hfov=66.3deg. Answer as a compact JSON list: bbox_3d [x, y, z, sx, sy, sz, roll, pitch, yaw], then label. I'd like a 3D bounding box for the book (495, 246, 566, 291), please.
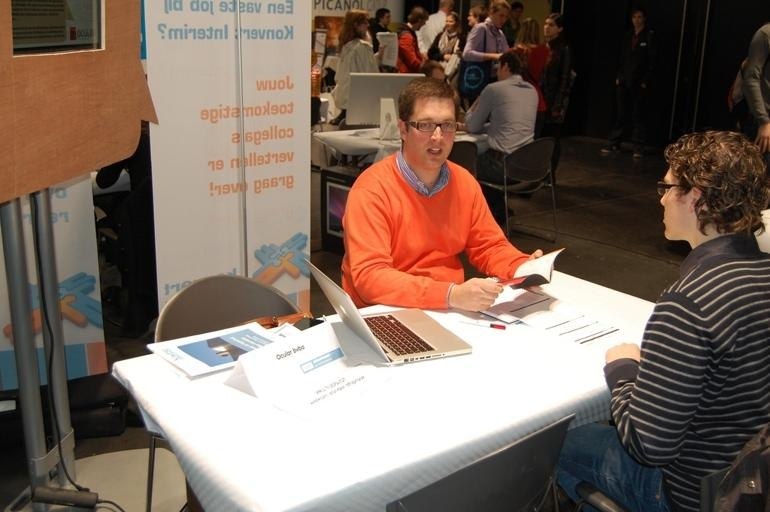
[{"bbox_3d":[0.573,0.047,2.366,0.208,0.086,0.185,-23,12,-29],"label":"book"}]

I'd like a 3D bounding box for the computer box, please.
[{"bbox_3d":[-0.306,-0.408,5.311,0.494,0.722,0.517,-1,18,-16],"label":"computer box"}]

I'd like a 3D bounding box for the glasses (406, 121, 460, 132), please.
[{"bbox_3d":[0.204,-0.592,2.652,0.222,0.055,0.111,1,20,3],"label":"glasses"}]

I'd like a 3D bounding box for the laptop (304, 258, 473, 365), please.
[{"bbox_3d":[0.028,0.269,2.087,0.409,0.262,0.420,-9,23,-23],"label":"laptop"}]

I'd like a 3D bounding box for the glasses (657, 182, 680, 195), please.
[{"bbox_3d":[0.916,-0.228,1.906,0.058,0.022,0.057,-1,10,-4],"label":"glasses"}]
